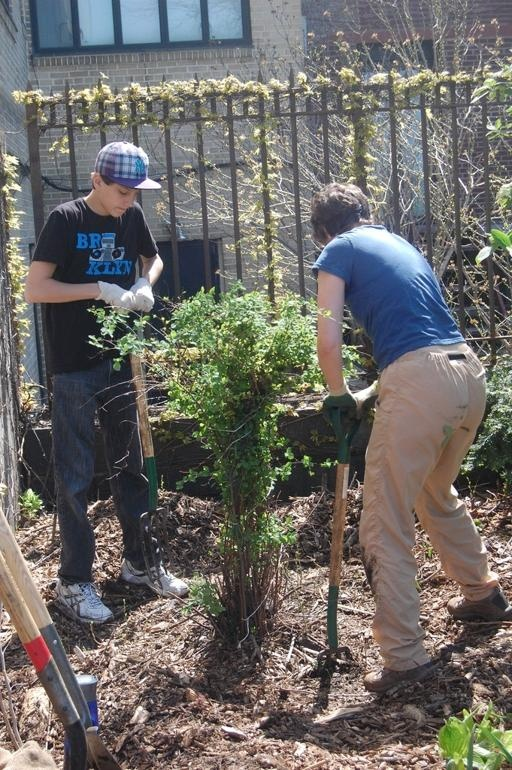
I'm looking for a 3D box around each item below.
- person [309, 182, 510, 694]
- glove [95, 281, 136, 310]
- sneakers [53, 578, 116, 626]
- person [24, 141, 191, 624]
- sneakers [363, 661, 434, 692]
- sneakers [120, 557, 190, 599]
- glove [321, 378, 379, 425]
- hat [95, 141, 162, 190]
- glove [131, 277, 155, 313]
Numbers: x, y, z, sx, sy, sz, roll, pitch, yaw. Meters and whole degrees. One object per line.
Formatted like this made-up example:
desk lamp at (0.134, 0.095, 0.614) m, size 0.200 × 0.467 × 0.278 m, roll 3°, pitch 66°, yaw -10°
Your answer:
person at (0.569, 0.226, 3.046) m, size 0.751 × 1.645 × 0.545 m, roll -12°, pitch 15°, yaw -30°
glove at (-0.607, -0.399, 3.589) m, size 0.093 × 0.135 × 0.193 m, roll 3°, pitch 14°, yaw 29°
sneakers at (-0.747, 0.963, 3.544) m, size 0.314 × 0.133 × 0.121 m, roll 16°, pitch 15°, yaw 31°
person at (-0.685, -0.051, 3.714) m, size 0.563 × 2.086 × 0.929 m, roll 4°, pitch 16°, yaw 34°
sneakers at (0.513, 1.039, 2.937) m, size 0.248 × 0.101 × 0.101 m, roll -4°, pitch 6°, yaw 0°
sneakers at (-0.469, 0.898, 3.829) m, size 0.427 × 0.156 × 0.141 m, roll 8°, pitch 13°, yaw 19°
glove at (0.386, 0.073, 3.152) m, size 0.240 × 0.084 × 0.146 m, roll 1°, pitch 7°, yaw -5°
hat at (-0.568, -0.984, 3.590) m, size 0.286 × 0.222 × 0.212 m, roll -13°, pitch 15°, yaw -37°
glove at (-0.555, -0.432, 3.751) m, size 0.062 × 0.156 × 0.127 m, roll -13°, pitch -3°, yaw 21°
